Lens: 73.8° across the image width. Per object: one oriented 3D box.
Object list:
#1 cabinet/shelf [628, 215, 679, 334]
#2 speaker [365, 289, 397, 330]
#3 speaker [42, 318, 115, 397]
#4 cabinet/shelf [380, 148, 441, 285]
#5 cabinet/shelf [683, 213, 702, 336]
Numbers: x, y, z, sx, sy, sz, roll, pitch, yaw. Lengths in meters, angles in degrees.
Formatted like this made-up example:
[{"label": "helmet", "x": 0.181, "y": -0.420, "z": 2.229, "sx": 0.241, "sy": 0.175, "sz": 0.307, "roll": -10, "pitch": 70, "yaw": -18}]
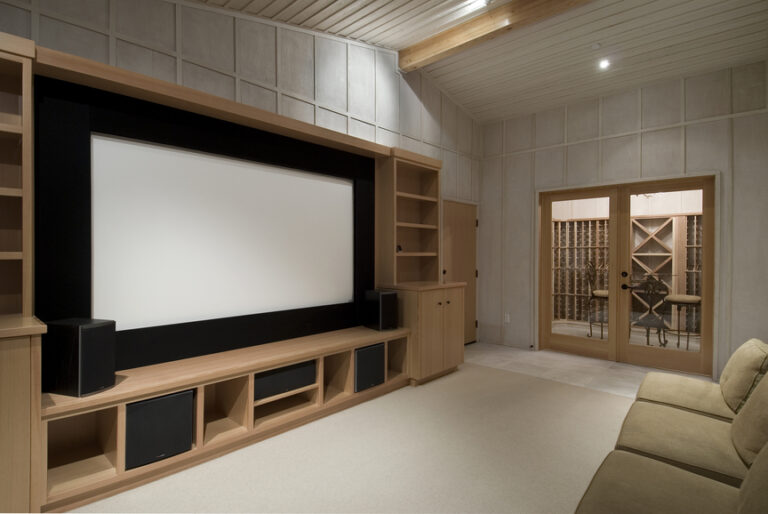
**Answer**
[{"label": "cabinet/shelf", "x": 3.581, "y": 0.281, "z": 6.857, "sx": 0.538, "sy": 1.690, "sz": 0.244, "roll": 1, "pitch": -30, "yaw": 26}, {"label": "speaker", "x": -0.052, "y": 0.623, "z": 6.055, "sx": 0.247, "sy": 0.452, "sz": 0.411, "roll": -3, "pitch": 5, "yaw": -34}, {"label": "speaker", "x": -2.570, "y": 0.843, "z": 4.370, "sx": 0.432, "sy": 0.601, "sz": 0.357, "roll": 4, "pitch": 4, "yaw": 22}, {"label": "cabinet/shelf", "x": 0.343, "y": -0.454, "z": 6.400, "sx": 0.881, "sy": 1.652, "sz": 0.429, "roll": 0, "pitch": 2, "yaw": -42}, {"label": "cabinet/shelf", "x": 3.964, "y": -0.045, "z": 6.555, "sx": 0.204, "sy": 1.044, "sz": 0.195, "roll": -7, "pitch": -26, "yaw": 41}]
